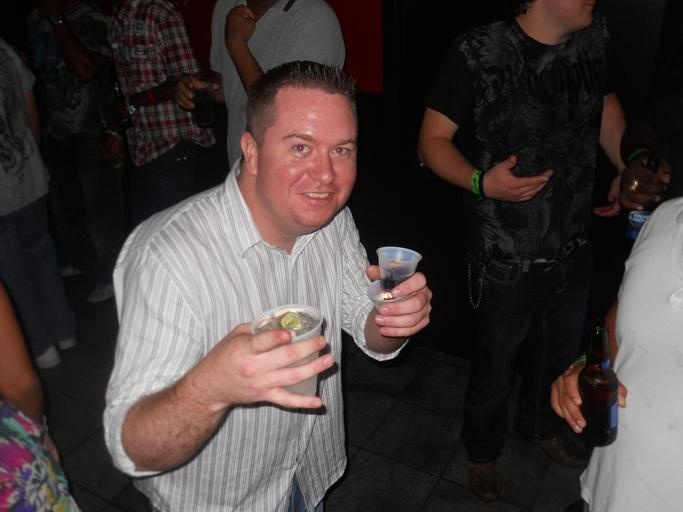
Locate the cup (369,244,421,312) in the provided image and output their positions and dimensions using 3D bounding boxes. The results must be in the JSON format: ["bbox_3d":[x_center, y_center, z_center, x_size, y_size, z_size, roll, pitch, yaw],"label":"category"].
[{"bbox_3d":[0.208,0.062,2.018,0.187,0.229,0.245,17,38,25],"label":"cup"}]

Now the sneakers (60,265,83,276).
[{"bbox_3d":[-3.006,0.165,5.621,0.129,0.041,0.143,10,39,-10],"label":"sneakers"}]

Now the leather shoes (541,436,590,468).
[{"bbox_3d":[1.533,1.298,3.551,0.360,0.248,0.121,6,35,30],"label":"leather shoes"}]
